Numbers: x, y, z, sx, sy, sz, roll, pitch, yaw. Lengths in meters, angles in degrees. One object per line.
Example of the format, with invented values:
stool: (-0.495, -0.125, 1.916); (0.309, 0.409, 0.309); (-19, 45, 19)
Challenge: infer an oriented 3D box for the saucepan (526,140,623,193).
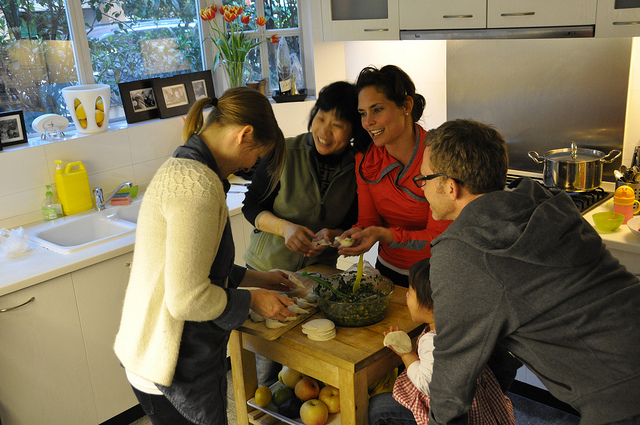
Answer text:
saucepan: (1.693, -0.305, 2.841); (0.410, 0.230, 0.258); (5, 18, 32)

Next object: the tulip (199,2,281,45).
tulip: (-0.716, -1.624, 3.731); (0.375, 0.241, 0.564); (3, -1, 40)

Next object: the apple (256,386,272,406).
apple: (-0.283, 0.914, 2.194); (0.080, 0.099, 0.081); (-15, -15, 40)

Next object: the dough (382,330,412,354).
dough: (0.327, 0.538, 1.811); (0.090, 0.022, 0.092); (-25, 44, -34)

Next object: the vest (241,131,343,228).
vest: (-0.136, -0.175, 2.291); (0.403, 0.384, 0.234); (12, 26, -19)

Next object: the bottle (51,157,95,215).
bottle: (-1.860, -0.198, 3.256); (0.170, 0.428, 0.272); (19, 32, 34)

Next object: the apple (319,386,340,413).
apple: (0.052, 0.874, 2.049); (0.111, 0.107, 0.111); (2, -20, -16)

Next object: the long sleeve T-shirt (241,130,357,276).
long sleeve T-shirt: (-0.100, -0.058, 2.326); (0.604, 0.702, 0.397); (8, 24, -27)

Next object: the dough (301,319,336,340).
dough: (-0.006, 0.507, 1.906); (0.089, 0.034, 0.092); (4, 16, 19)

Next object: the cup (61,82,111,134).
cup: (-1.739, -0.813, 3.416); (0.376, 0.339, 0.364); (0, 14, 0)

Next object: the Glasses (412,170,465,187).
Glasses: (0.447, -0.127, 1.622); (0.101, 0.029, 0.099); (7, 15, 36)

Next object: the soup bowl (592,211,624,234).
soup bowl: (1.703, 0.055, 2.584); (0.133, 0.068, 0.136); (-2, 12, 0)

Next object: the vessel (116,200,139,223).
vessel: (-1.482, -0.008, 3.340); (0.109, 0.131, 0.128); (14, 27, 37)

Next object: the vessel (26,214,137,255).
vessel: (-1.771, 0.160, 3.139); (0.353, 0.182, 0.446); (14, 26, 27)
